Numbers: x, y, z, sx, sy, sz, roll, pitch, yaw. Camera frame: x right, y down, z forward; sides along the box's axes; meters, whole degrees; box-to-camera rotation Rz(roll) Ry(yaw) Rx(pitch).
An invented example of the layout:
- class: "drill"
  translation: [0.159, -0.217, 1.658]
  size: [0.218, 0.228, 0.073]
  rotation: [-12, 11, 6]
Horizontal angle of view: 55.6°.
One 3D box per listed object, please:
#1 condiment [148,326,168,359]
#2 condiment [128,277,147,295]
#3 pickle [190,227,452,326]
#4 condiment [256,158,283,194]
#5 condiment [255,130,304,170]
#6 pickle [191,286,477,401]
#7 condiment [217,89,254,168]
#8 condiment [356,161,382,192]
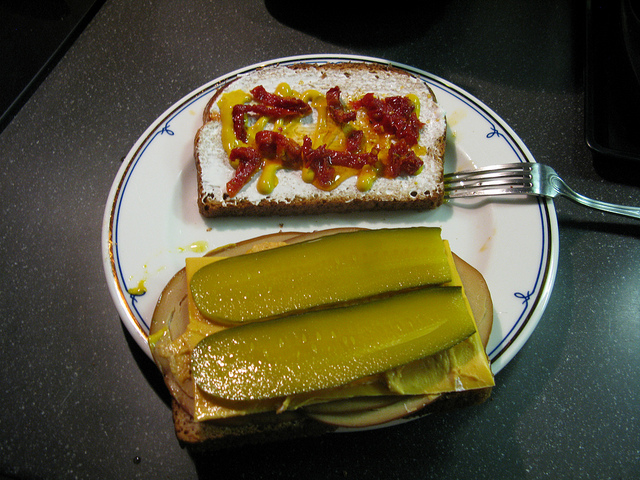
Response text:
- class: "condiment"
  translation: [-1.117, 0.666, 4.142]
  size: [0.096, 0.057, 0.225]
  rotation: [26, 84, 3]
- class: "condiment"
  translation: [-1.318, 0.352, 4.401]
  size: [0.136, 0.047, 0.102]
  rotation: [-26, 84, -3]
- class: "pickle"
  translation: [0.102, 0.248, 4.102]
  size: [1.779, 0.170, 0.665]
  rotation: [-8, 49, -15]
- class: "condiment"
  translation: [-0.404, -0.508, 4.735]
  size: [0.106, 0.089, 0.277]
  rotation: [5, 61, -3]
- class: "condiment"
  translation: [-0.322, -0.728, 4.814]
  size: [0.494, 0.352, 0.240]
  rotation: [15, 105, -3]
- class: "pickle"
  translation: [0.076, 0.680, 3.911]
  size: [1.821, 0.181, 0.486]
  rotation: [-11, 83, -1]
- class: "condiment"
  translation: [-0.706, -0.910, 4.795]
  size: [0.365, 0.510, 0.536]
  rotation: [-10, 40, -11]
- class: "condiment"
  translation: [0.382, -0.511, 4.757]
  size: [0.136, 0.084, 0.261]
  rotation: [31, 78, 2]
